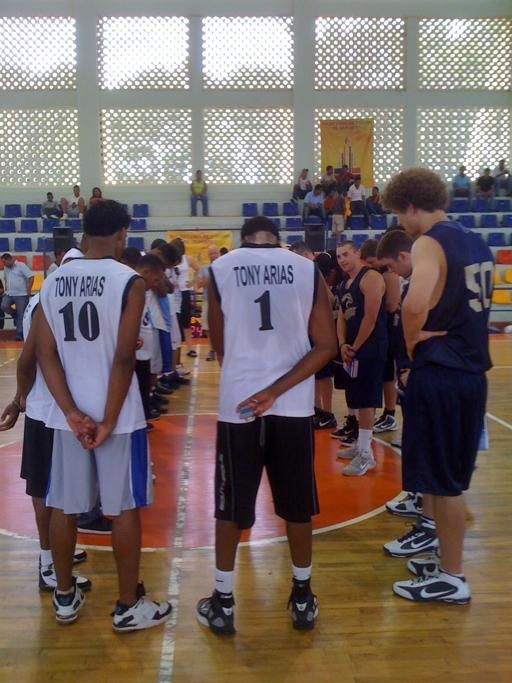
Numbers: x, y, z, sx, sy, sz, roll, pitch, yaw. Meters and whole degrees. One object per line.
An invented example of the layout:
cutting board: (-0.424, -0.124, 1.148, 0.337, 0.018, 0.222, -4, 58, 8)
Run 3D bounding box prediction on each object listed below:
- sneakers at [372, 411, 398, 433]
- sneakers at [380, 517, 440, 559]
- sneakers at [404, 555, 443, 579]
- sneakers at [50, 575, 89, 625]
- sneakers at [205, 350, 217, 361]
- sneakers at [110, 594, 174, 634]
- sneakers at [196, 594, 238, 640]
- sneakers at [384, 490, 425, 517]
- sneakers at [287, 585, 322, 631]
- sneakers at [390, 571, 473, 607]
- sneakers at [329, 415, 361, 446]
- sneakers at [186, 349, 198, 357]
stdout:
sneakers: (1.014, 0.638, 5.761, 0.095, 0.131, 0.266, 4, -6, -21)
sneakers: (0.666, 0.905, 3.373, 0.329, 0.212, 0.122, -1, -1, -6)
sneakers: (0.717, 0.951, 3.131, 0.066, 0.085, 0.192, 5, -3, -34)
sneakers: (-0.713, 0.982, 2.764, 0.067, 0.091, 0.199, -1, 2, -3)
sneakers: (-0.554, 0.164, 8.753, 0.093, 0.196, 0.284, 0, -10, 4)
sneakers: (-0.421, 0.990, 2.688, 0.242, 0.140, 0.093, 2, -7, -27)
sneakers: (-0.142, 0.991, 2.663, 0.081, 0.145, 0.207, 1, 3, -16)
sneakers: (0.750, 0.873, 3.951, 0.290, 0.141, 0.105, 2, -2, 18)
sneakers: (0.178, 0.978, 2.689, 0.065, 0.138, 0.198, -1, 0, 5)
sneakers: (0.712, 0.975, 2.967, 0.332, 0.151, 0.115, 2, -2, 13)
sneakers: (0.656, 0.651, 5.368, 0.099, 0.136, 0.287, 7, -1, -35)
sneakers: (-0.880, 0.153, 9.892, 0.086, 0.106, 0.265, 1, 3, -1)
